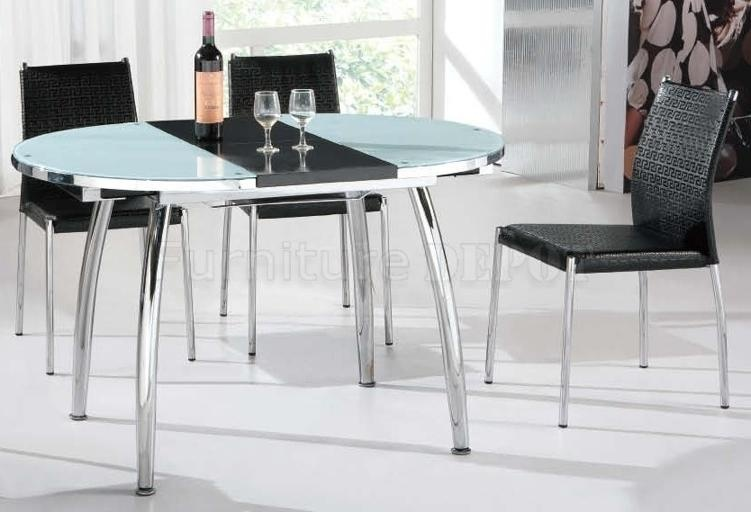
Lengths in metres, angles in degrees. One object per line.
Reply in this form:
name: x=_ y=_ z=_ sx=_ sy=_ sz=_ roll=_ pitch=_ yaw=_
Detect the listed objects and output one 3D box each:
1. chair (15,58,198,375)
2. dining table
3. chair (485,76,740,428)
chair: x=-1.186 y=-0.169 z=2.886 sx=0.673 sy=1.078 sz=0.748 roll=-9 pitch=-7 yaw=41
dining table: x=-0.370 y=0.095 z=2.283 sx=1.514 sy=1.128 sz=0.848 roll=-1 pitch=11 yaw=-16
chair: x=0.887 y=-0.042 z=2.533 sx=0.740 sy=1.120 sz=0.700 roll=-2 pitch=13 yaw=4
